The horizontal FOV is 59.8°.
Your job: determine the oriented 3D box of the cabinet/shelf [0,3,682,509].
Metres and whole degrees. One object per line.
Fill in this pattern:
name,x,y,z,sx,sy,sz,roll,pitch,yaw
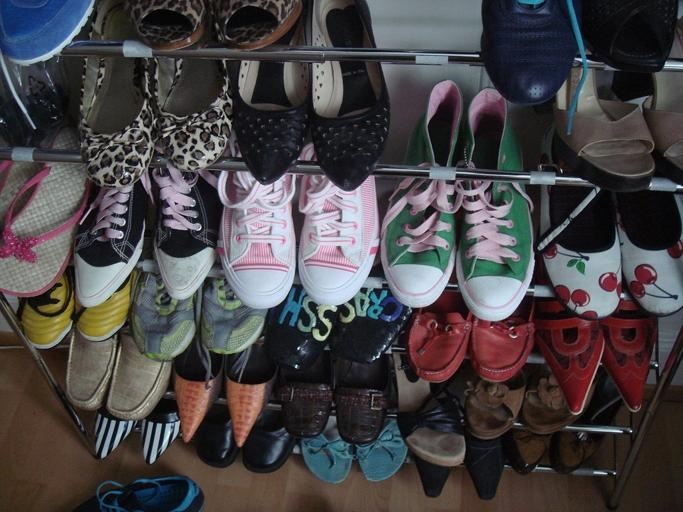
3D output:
cabinet/shelf,0.015,-0.016,1.246,0.961,1.049,0.371,22,52,-23
